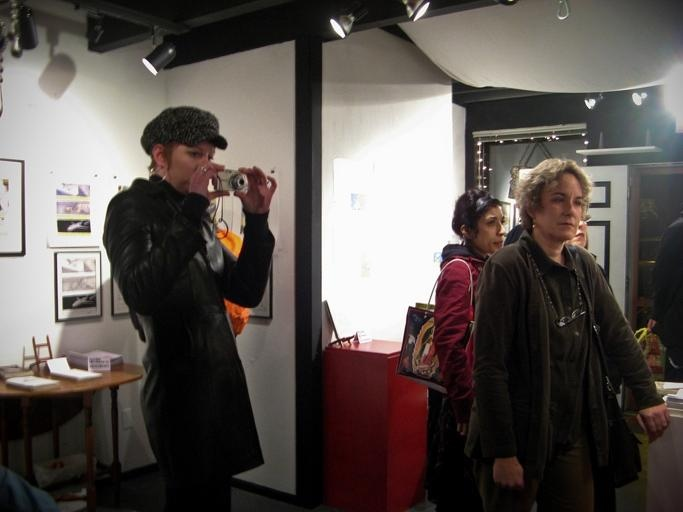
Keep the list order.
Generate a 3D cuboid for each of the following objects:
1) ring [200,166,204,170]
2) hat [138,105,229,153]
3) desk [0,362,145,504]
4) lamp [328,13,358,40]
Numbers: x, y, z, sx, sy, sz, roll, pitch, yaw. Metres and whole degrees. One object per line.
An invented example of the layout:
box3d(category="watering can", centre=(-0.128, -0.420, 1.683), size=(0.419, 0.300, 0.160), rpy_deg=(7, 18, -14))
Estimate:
box3d(category="ring", centre=(-0.715, -0.457, 2.729), size=(0.017, 0.008, 0.012), rpy_deg=(-6, -1, 41))
box3d(category="hat", centre=(-0.809, -0.641, 2.740), size=(0.336, 0.183, 0.259), rpy_deg=(4, 4, -4))
box3d(category="desk", centre=(-1.403, 0.922, 2.914), size=(0.661, 0.775, 0.694), rpy_deg=(-2, -2, 32))
box3d(category="lamp", centre=(-0.003, -1.286, 2.957), size=(0.120, 0.101, 0.135), rpy_deg=(-1, 4, -25))
